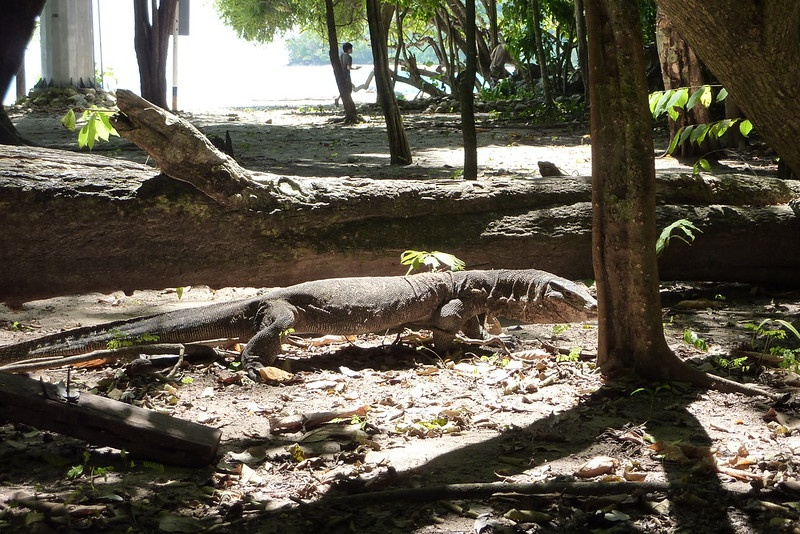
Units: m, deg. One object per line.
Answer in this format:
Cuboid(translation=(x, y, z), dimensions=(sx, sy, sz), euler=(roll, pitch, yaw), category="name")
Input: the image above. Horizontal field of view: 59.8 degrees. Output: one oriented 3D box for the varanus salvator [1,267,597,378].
Cuboid(translation=(-0.720, 0.419, 6.077), dimensions=(5.866, 0.490, 1.468), euler=(-3, 9, -13), category="varanus salvator")
